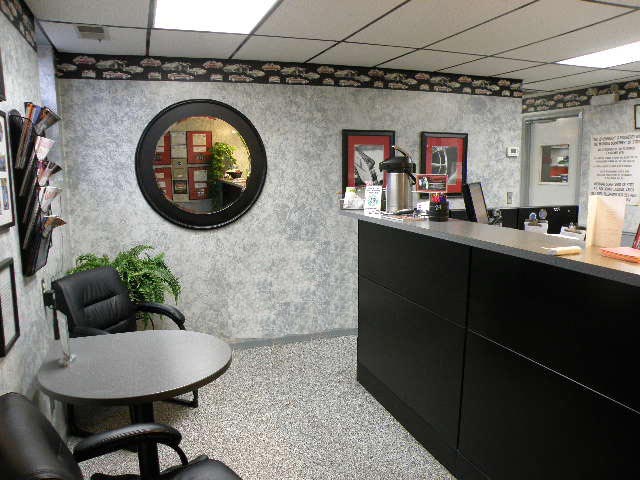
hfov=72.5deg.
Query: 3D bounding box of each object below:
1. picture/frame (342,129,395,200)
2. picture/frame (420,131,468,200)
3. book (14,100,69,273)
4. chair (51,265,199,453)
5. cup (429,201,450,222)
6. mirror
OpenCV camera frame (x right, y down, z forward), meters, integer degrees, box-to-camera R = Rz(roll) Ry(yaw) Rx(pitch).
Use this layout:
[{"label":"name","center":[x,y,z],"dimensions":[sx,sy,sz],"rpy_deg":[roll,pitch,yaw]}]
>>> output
[{"label":"picture/frame","center":[0.532,-0.894,4.846],"dimensions":[0.635,0.638,0.075],"rpy_deg":[-5,14,-18]},{"label":"picture/frame","center":[1.441,-0.873,5.097],"dimensions":[0.610,0.733,0.182],"rpy_deg":[-6,14,-22]},{"label":"book","center":[-1.834,-0.327,2.874],"dimensions":[0.311,1.133,0.492],"rpy_deg":[-8,15,-28]},{"label":"chair","center":[-1.503,0.843,3.422],"dimensions":[0.958,1.091,0.882],"rpy_deg":[8,9,26]},{"label":"cup","center":[0.836,-0.194,3.089],"dimensions":[0.131,0.138,0.142],"rpy_deg":[-2,-1,0]},{"label":"mirror","center":[-1.156,-0.719,4.396],"dimensions":[1.334,1.294,0.070],"rpy_deg":[-17,29,-28]}]
